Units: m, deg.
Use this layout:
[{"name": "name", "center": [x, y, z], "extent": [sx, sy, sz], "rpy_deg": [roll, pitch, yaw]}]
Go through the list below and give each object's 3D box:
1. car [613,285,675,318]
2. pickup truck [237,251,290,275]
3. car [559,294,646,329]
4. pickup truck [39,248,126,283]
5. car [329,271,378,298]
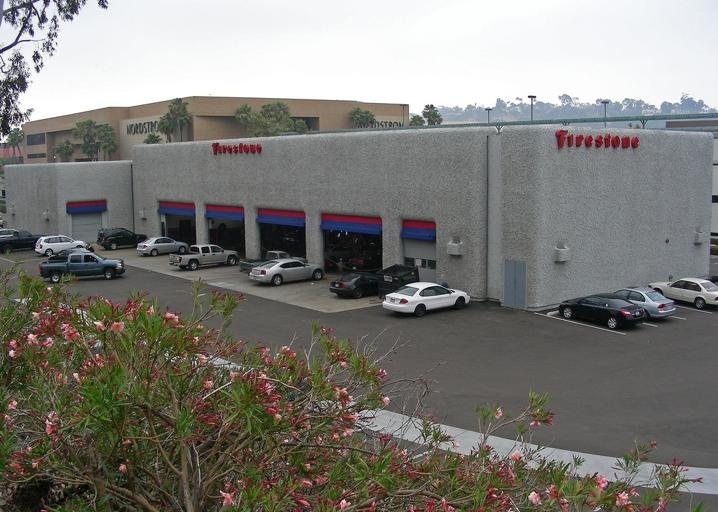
[{"name": "car", "center": [12.343, 2.057, 26.468], "extent": [1.175, 0.886, 2.666], "rpy_deg": [-8, 14, -31]}, {"name": "pickup truck", "center": [-5.570, 0.615, 36.848], "extent": [2.640, 1.102, 1.503], "rpy_deg": [-11, 15, -37]}, {"name": "car", "center": [10.152, 2.286, 25.043], "extent": [1.210, 0.883, 2.616], "rpy_deg": [-5, 9, -43]}, {"name": "pickup truck", "center": [-16.185, 0.563, 34.971], "extent": [3.874, 1.428, 1.899], "rpy_deg": [-3, 8, -15]}, {"name": "car", "center": [-0.014, 1.443, 30.447], "extent": [2.138, 0.686, 1.221], "rpy_deg": [-12, 14, -43]}]
